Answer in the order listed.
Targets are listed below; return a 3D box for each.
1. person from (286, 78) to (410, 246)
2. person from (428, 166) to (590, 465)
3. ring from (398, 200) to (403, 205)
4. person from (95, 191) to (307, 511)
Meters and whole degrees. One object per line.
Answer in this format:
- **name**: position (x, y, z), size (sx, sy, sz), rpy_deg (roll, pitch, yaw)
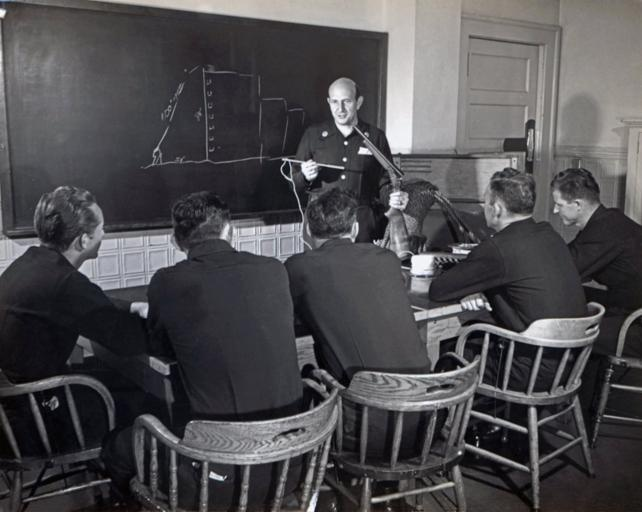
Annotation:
- **person**: position (0.185, -0.282, 3.391), size (0.628, 1.414, 0.401), rpy_deg (1, 22, 8)
- **person**: position (0.861, 0.265, 2.569), size (0.518, 1.276, 0.667), rpy_deg (-17, 20, -42)
- **ring**: position (0.402, -0.266, 2.866), size (0.013, 0.014, 0.025), rpy_deg (2, -8, 19)
- **person**: position (-0.333, 0.283, 1.777), size (0.593, 0.913, 0.458), rpy_deg (7, 15, 27)
